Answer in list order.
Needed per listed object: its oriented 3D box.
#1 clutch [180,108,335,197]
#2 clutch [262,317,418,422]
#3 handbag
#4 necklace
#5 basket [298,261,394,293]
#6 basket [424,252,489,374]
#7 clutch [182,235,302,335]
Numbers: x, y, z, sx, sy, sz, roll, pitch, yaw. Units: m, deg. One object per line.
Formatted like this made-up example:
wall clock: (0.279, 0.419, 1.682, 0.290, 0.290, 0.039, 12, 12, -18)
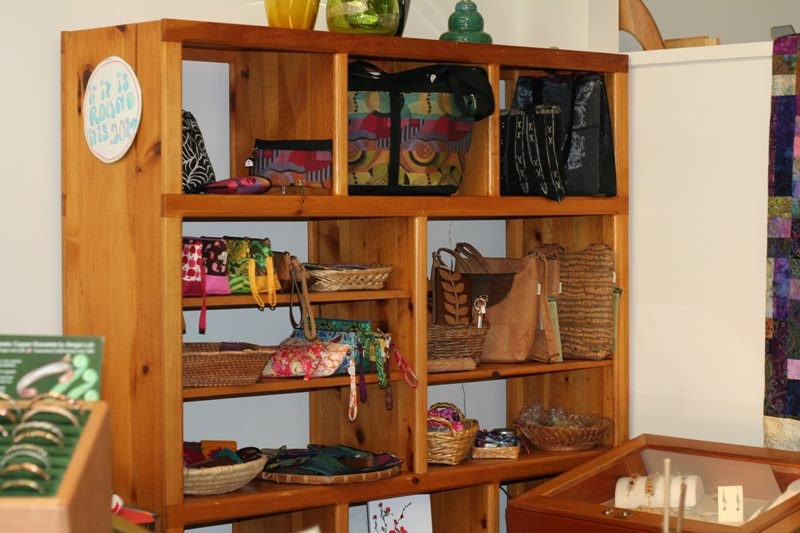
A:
clutch: (-0.641, -0.510, 4.132, 0.773, 0.396, 0.498, 0, 4, -2)
clutch: (-0.297, 0.460, 4.029, 0.636, 0.232, 0.459, 5, -5, -44)
handbag: (0.838, -0.648, 4.445, 0.663, 0.669, 0.365, 0, -5, -12)
necklace: (1.148, 0.973, 3.679, 0.362, 0.113, 0.260, 1, 0, 24)
basket: (-0.234, 0.054, 4.074, 0.405, 0.140, 0.145, -3, 7, -5)
basket: (0.247, 0.251, 4.443, 0.418, 0.549, 0.380, 6, 6, -34)
clutch: (-0.748, 0.095, 3.994, 0.502, 0.380, 0.179, 0, -6, -36)
